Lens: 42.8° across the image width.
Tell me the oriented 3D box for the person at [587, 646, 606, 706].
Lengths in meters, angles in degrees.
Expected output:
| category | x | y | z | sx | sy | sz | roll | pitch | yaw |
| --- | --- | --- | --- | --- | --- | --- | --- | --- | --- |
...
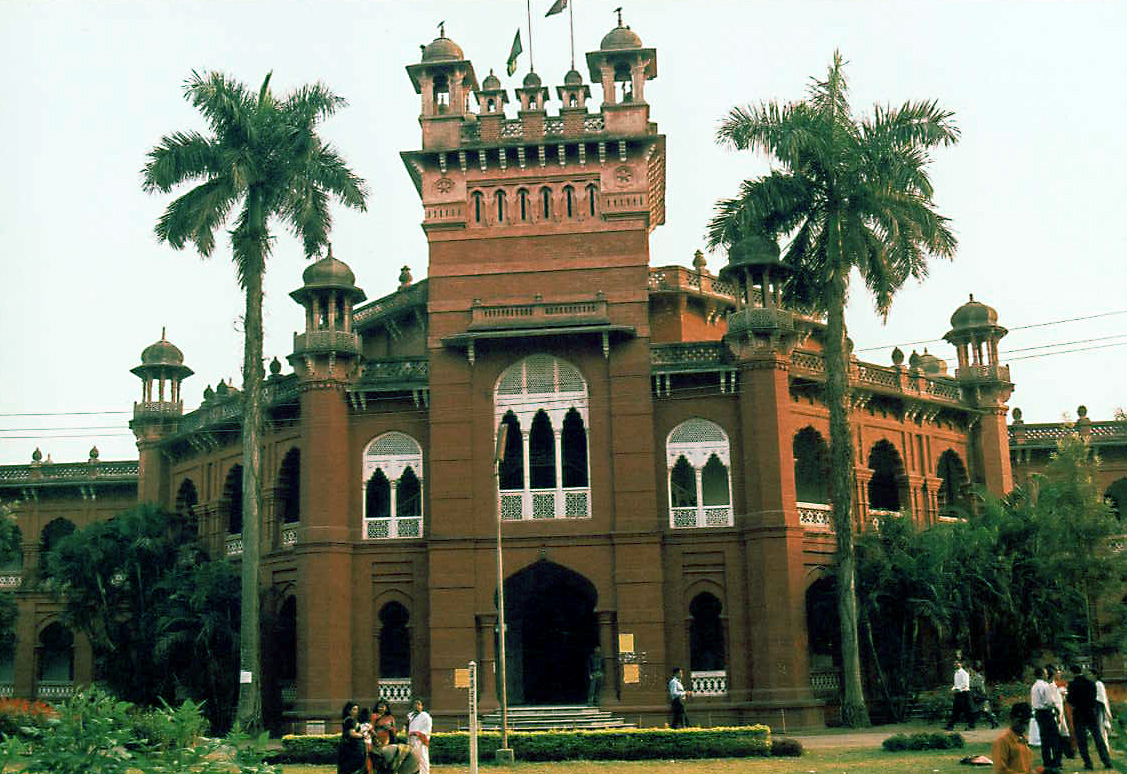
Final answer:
| category | x | y | z | sx | sy | sz | roll | pitch | yaw |
| --- | --- | --- | --- | --- | --- | --- | --- | --- | --- |
| person | 1.056 | 9.299 | 46.534 | 0.533 | 1.902 | 0.927 | -4 | -16 | 6 |
